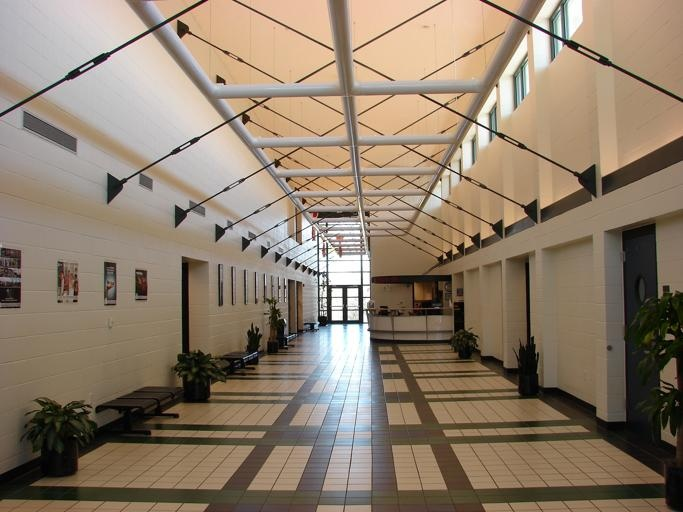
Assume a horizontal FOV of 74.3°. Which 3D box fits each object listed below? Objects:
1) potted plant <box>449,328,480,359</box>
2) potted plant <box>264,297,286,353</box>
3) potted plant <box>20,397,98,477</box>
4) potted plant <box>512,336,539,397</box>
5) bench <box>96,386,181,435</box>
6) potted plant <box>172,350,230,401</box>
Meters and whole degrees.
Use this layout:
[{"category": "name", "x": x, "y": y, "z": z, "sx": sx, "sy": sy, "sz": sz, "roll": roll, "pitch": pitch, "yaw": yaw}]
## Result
[{"category": "potted plant", "x": 3.400, "y": 2.461, "z": 12.532, "sx": 0.660, "sy": 0.745, "sz": 0.505, "roll": -7, "pitch": -8, "yaw": 26}, {"category": "potted plant", "x": -2.213, "y": 2.270, "z": 14.933, "sx": 0.563, "sy": 1.783, "sz": 1.467, "roll": -2, "pitch": -8, "yaw": -7}, {"category": "potted plant", "x": -3.152, "y": 2.007, "z": 5.014, "sx": 0.743, "sy": 0.753, "sz": 0.647, "roll": 2, "pitch": -7, "yaw": -9}, {"category": "potted plant", "x": 3.345, "y": 1.979, "z": 8.092, "sx": 0.381, "sy": 1.019, "sz": 0.307, "roll": -4, "pitch": -7, "yaw": 6}, {"category": "bench", "x": -2.872, "y": 2.275, "z": 6.833, "sx": 0.814, "sy": 0.525, "sz": 1.785, "roll": -3, "pitch": -8, "yaw": 1}, {"category": "potted plant", "x": -2.609, "y": 2.196, "z": 8.226, "sx": 0.830, "sy": 0.829, "sz": 0.877, "roll": 2, "pitch": -8, "yaw": -45}]
